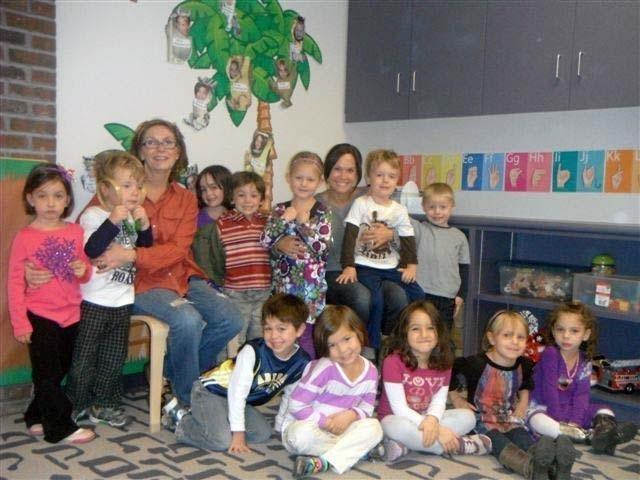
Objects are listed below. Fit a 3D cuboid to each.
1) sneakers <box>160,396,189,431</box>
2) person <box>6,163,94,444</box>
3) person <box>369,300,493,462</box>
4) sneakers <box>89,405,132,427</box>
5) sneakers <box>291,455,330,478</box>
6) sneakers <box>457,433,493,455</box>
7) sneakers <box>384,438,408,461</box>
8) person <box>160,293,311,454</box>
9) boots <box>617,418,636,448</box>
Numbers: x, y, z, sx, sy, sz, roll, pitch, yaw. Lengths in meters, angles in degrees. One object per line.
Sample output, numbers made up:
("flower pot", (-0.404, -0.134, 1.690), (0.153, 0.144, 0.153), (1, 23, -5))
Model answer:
("sneakers", (-0.684, 0.803, 2.403), (0.074, 0.111, 0.174), (3, -38, -48))
("person", (-1.190, 0.270, 2.294), (0.335, 1.208, 0.263), (-1, 5, -15))
("person", (0.554, 0.625, 2.549), (0.600, 0.743, 0.588), (1, -2, -29))
("sneakers", (-0.994, 0.832, 2.488), (0.212, 0.096, 0.081), (4, 4, 7))
("sneakers", (-0.044, 0.889, 2.031), (0.076, 0.063, 0.180), (2, 0, 22))
("sneakers", (0.685, 0.893, 2.266), (0.137, 0.074, 0.053), (2, 0, -15))
("sneakers", (0.333, 0.893, 2.226), (0.123, 0.090, 0.112), (0, 4, 1))
("person", (-0.349, 0.589, 2.358), (0.610, 0.745, 0.400), (12, 3, 22))
("boots", (1.368, 0.853, 2.304), (0.104, 0.089, 0.044), (-1, 5, -18))
